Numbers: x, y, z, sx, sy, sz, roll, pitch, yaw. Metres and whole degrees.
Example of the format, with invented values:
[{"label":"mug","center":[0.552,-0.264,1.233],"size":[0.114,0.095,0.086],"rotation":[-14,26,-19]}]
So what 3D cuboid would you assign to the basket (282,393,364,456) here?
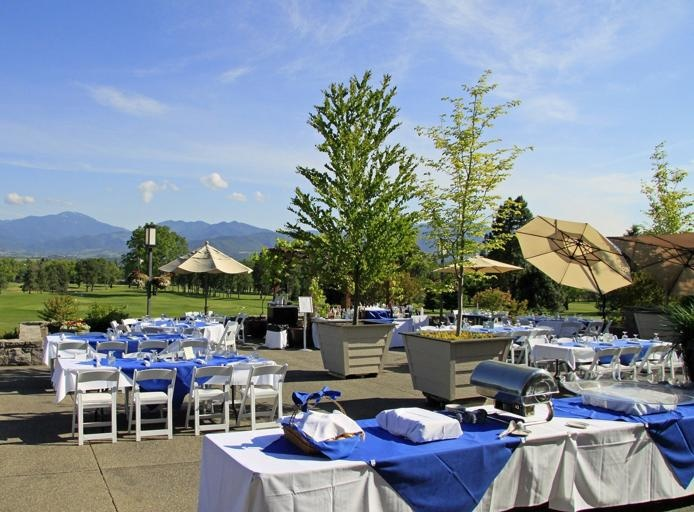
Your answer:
[{"label":"basket","center":[-0.200,1.482,4.770],"size":[0.546,0.521,0.715],"rotation":[0,0,-38]}]

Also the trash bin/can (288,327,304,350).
[{"label":"trash bin/can","center":[-1.750,2.835,18.023],"size":[0.652,0.646,0.706],"rotation":[0,0,-25]}]
